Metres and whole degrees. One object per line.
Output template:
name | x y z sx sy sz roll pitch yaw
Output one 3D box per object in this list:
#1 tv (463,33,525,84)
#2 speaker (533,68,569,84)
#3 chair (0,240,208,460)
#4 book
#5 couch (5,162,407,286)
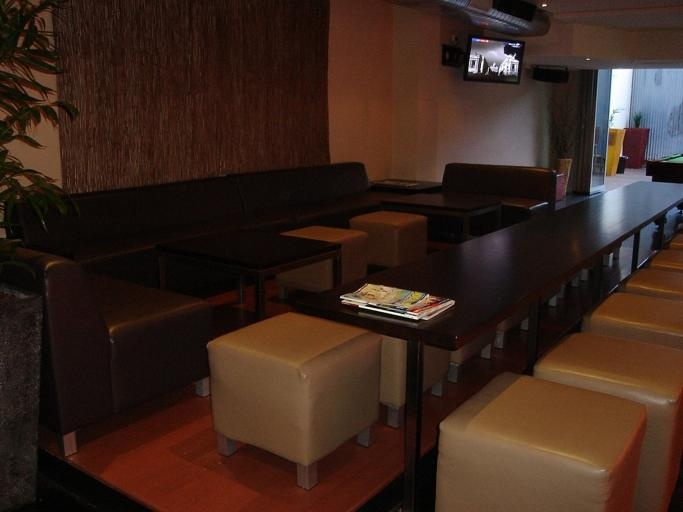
tv | 2.316 -2.948 7.965 1.117 0.667 0.108 -6 18 -26
speaker | 3.976 -3.472 10.083 1.023 0.276 0.212 -12 18 -33
chair | -1.224 0.346 2.810 0.944 0.925 0.891 12 17 39
book | 0.203 0.183 2.101 0.264 0.037 0.191 10 18 34
couch | -1.279 -0.210 4.347 3.072 0.746 0.688 -3 19 21
